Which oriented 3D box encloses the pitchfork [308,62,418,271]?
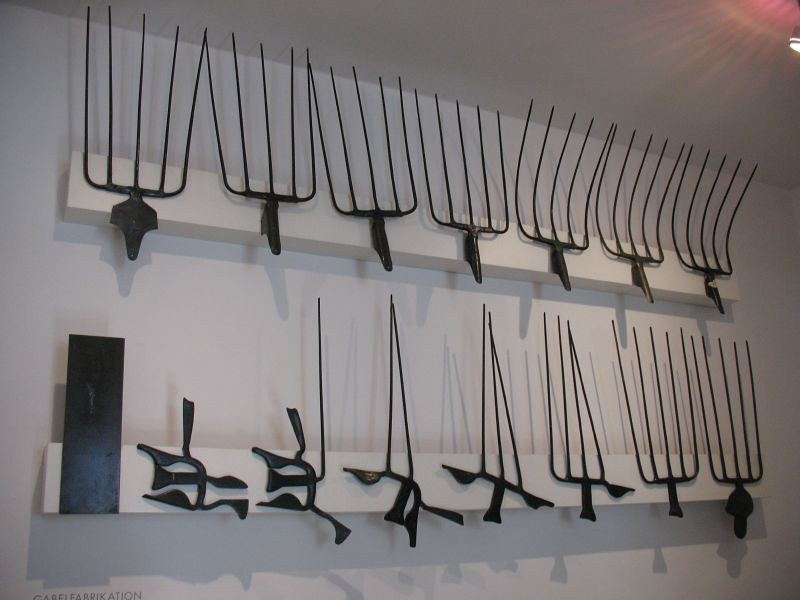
[{"bbox_3d":[-0.123,-0.537,3.511,0.393,0.040,0.972,5,-41,11],"label":"pitchfork"}]

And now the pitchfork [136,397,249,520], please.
[{"bbox_3d":[-0.765,0.591,3.057,0.364,0.452,0.029,6,-23,-21],"label":"pitchfork"}]

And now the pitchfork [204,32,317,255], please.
[{"bbox_3d":[-0.554,-0.608,3.396,0.477,0.978,0.274,4,-15,-15],"label":"pitchfork"}]

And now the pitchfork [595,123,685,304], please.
[{"bbox_3d":[1.142,-0.435,4.085,0.320,1.001,0.226,3,-19,18],"label":"pitchfork"}]

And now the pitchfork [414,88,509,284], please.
[{"bbox_3d":[0.302,-0.497,3.703,0.466,0.951,0.352,3,-15,-12],"label":"pitchfork"}]

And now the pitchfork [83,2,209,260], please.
[{"bbox_3d":[-0.998,-0.630,3.262,0.474,1.031,0.261,7,-16,-26],"label":"pitchfork"}]

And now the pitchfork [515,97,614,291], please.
[{"bbox_3d":[0.712,-0.485,3.870,0.381,0.956,0.152,5,-19,6],"label":"pitchfork"}]

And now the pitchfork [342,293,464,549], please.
[{"bbox_3d":[-0.004,0.453,3.364,0.462,1.025,0.269,3,-15,-13],"label":"pitchfork"}]

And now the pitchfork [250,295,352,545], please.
[{"bbox_3d":[-0.355,0.439,2.998,0.355,0.070,1.096,4,-62,2],"label":"pitchfork"}]

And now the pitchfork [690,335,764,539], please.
[{"bbox_3d":[1.530,0.621,3.959,0.281,0.962,0.553,-7,-17,23],"label":"pitchfork"}]

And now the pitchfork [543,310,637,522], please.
[{"bbox_3d":[0.783,0.480,3.630,0.406,0.923,0.342,2,-15,-8],"label":"pitchfork"}]
